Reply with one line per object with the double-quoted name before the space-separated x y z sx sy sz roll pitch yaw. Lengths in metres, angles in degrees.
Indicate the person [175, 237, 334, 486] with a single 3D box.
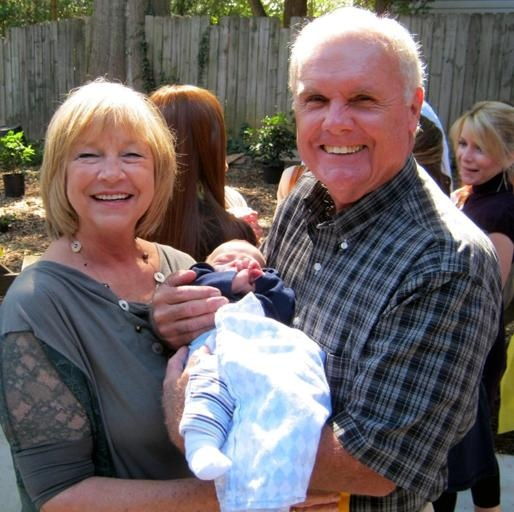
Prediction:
"person" -0.013 0.367 2.021 0.515 0.717 0.249 0 -37 -5
